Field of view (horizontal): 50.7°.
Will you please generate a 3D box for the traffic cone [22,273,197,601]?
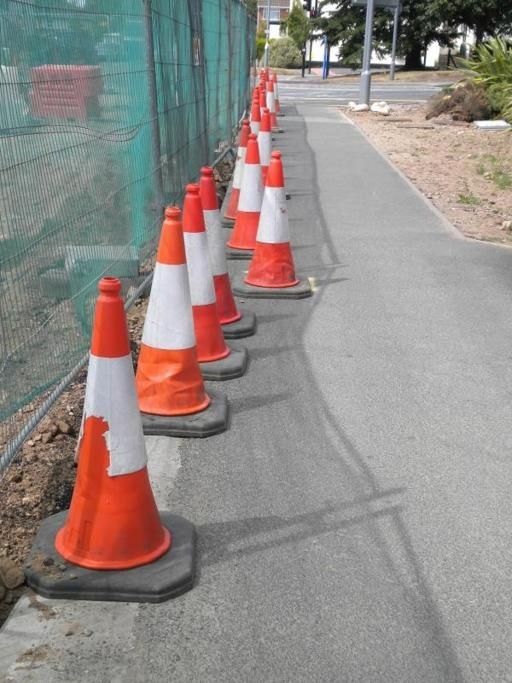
[{"bbox_3d":[-0.457,0.279,1.755,0.649,0.870,0.638,-1,8,-18],"label":"traffic cone"}]
